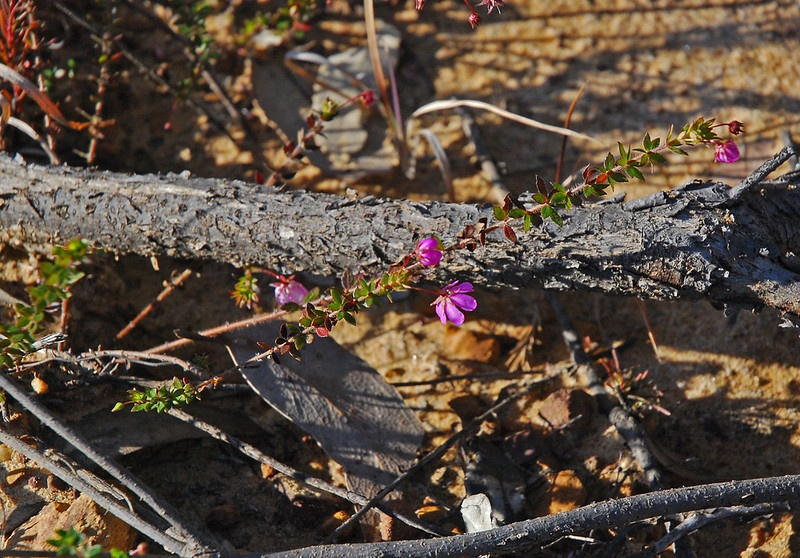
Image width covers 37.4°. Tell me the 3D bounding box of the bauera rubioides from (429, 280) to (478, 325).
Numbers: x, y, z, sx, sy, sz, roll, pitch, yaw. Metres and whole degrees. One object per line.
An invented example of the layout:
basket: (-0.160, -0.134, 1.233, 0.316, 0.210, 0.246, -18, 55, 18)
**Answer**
bauera rubioides: (0.313, 0.137, 6.943, 0.235, 0.285, 0.258, -10, 31, 1)
